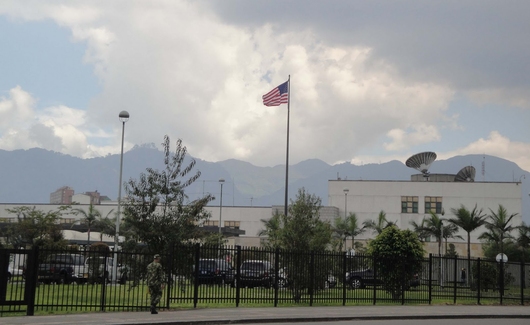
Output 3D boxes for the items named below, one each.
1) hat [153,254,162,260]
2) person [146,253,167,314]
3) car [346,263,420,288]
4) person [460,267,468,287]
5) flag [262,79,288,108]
[{"bbox_3d":[-8.086,7.015,52.029,0.349,0.353,0.465,5,-9,-43],"label":"hat"},{"bbox_3d":[-8.177,8.999,51.869,1.212,4.299,0.976,1,-12,-5],"label":"person"},{"bbox_3d":[9.843,9.685,58.863,6.793,1.636,1.432,5,-13,-23],"label":"car"},{"bbox_3d":[17.235,9.796,60.287,0.542,1.576,0.353,0,-12,1],"label":"person"},{"bbox_3d":[1.169,-7.458,74.826,3.059,0.221,3.338,-8,-44,-2],"label":"flag"}]
